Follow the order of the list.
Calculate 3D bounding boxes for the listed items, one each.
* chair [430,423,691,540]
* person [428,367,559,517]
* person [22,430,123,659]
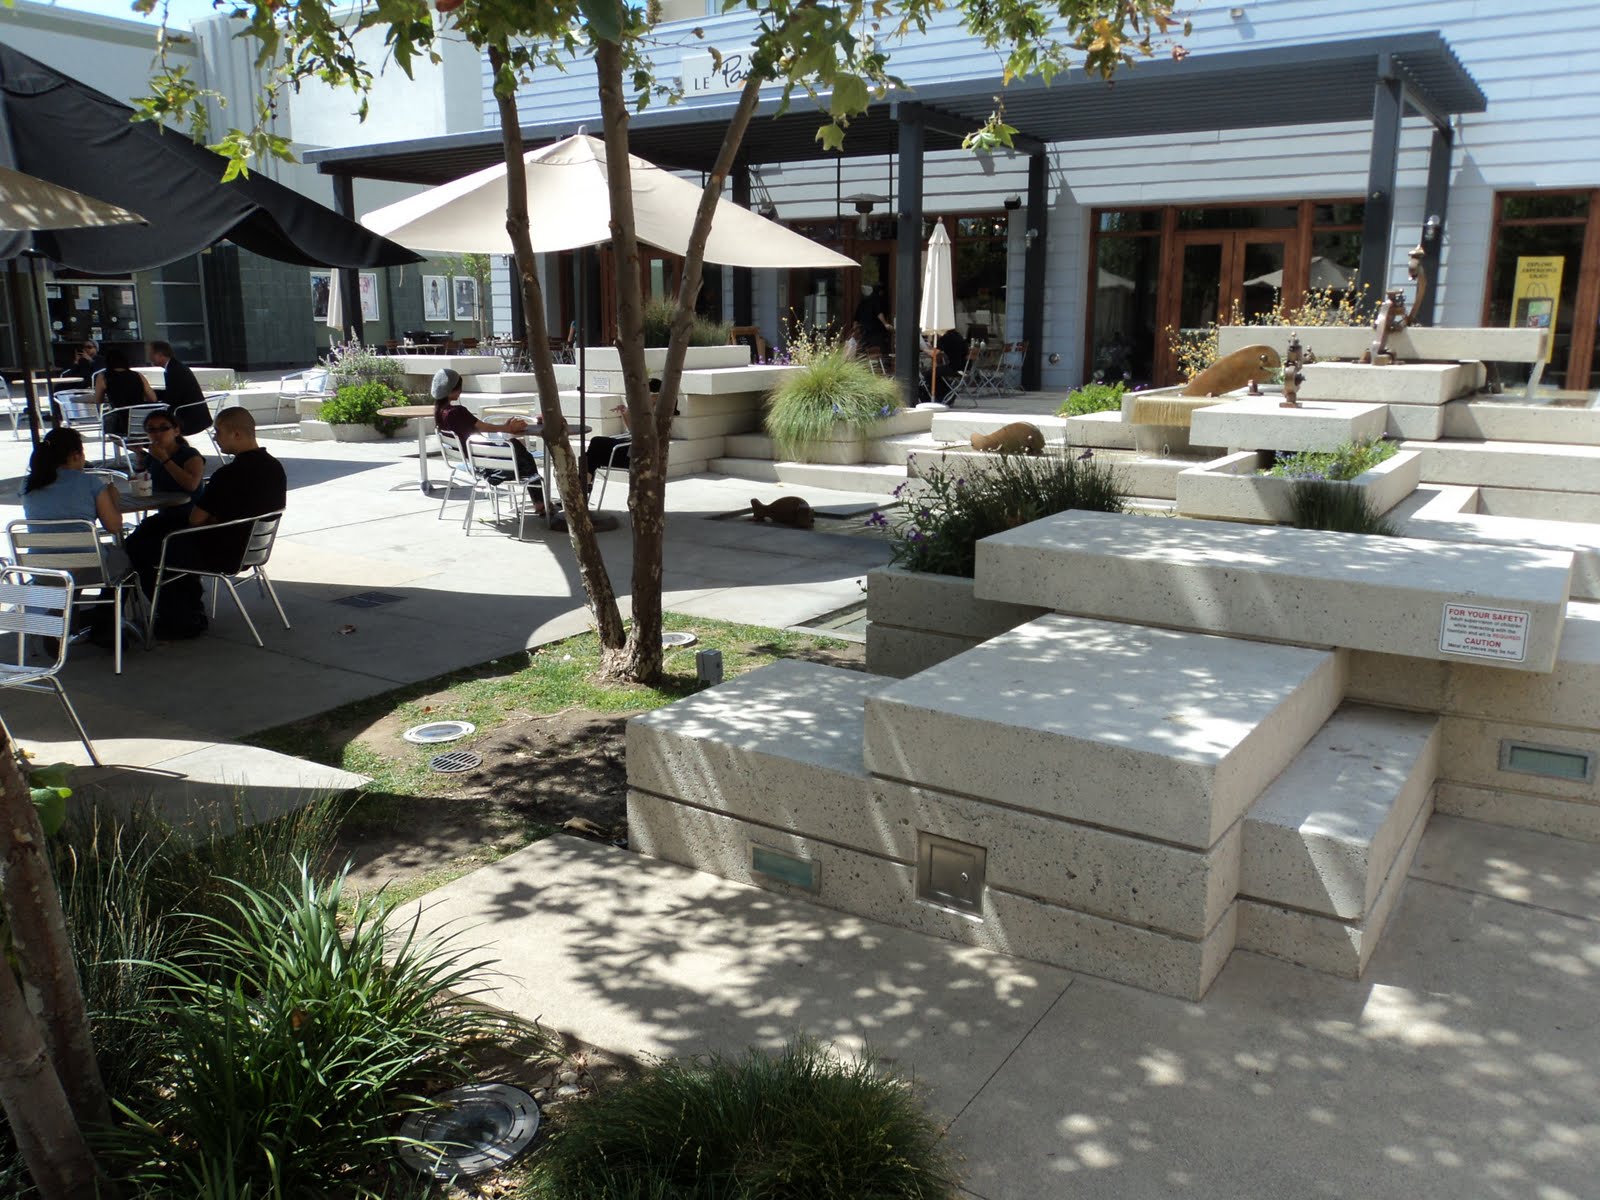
[{"bbox_3d":[-2.518,-1.055,10.668,1.976,0.841,1.291,2,18,7],"label":"chair"},{"bbox_3d":[-3.099,-1.664,11.143,0.900,1.422,0.555,-21,33,-21],"label":"person"},{"bbox_3d":[-4.410,-0.368,6.680,0.488,1.336,1.195,-9,16,-31],"label":"person"}]
